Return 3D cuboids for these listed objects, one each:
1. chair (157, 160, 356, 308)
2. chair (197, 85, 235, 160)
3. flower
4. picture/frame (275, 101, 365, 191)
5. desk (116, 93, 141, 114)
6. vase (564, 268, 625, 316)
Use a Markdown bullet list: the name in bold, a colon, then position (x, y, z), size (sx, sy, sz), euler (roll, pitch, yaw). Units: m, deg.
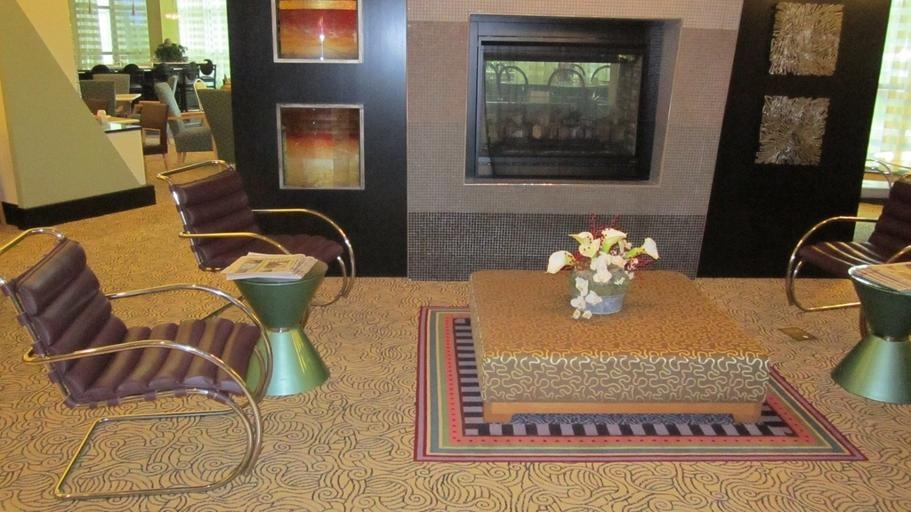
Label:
- **chair**: position (-1.754, -0.088, 5.074), size (1.462, 1.077, 0.911), euler (16, 26, 10)
- **chair**: position (-3.686, -1.985, 8.945), size (0.402, 1.207, 0.701), euler (-12, 28, -25)
- **flower**: position (1.163, 0.110, 4.428), size (1.092, 0.496, 0.600), euler (1, 12, 4)
- **picture/frame**: position (-1.282, -1.059, 5.553), size (1.012, 0.717, 0.207), euler (-2, 13, 0)
- **desk**: position (-6.644, -3.074, 11.546), size (0.368, 0.396, 1.336), euler (-12, 25, -27)
- **vase**: position (1.051, 0.266, 4.336), size (0.457, 0.215, 0.346), euler (3, 18, 7)
